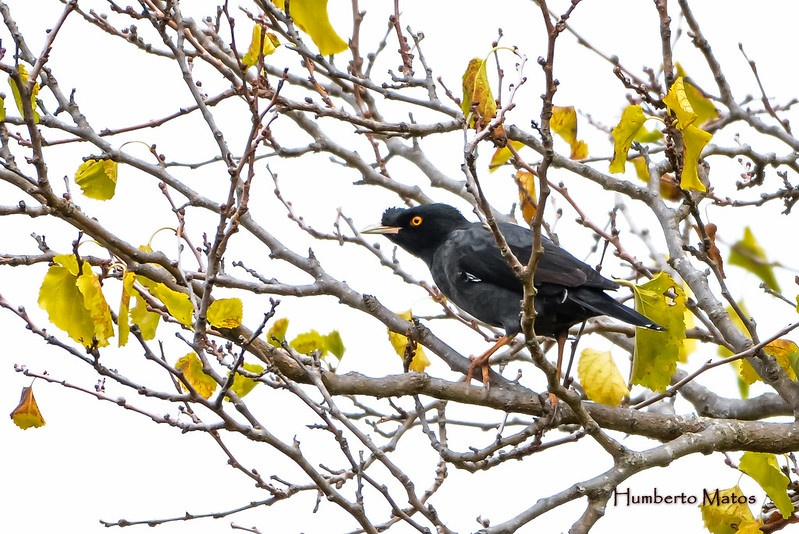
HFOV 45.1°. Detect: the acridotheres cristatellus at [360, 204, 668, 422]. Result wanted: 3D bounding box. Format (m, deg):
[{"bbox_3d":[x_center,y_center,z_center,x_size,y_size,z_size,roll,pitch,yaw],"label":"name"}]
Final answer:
[{"bbox_3d":[0.663,0.257,6.280,1.604,2.206,0.661,4,-61,-3],"label":"acridotheres cristatellus"}]
